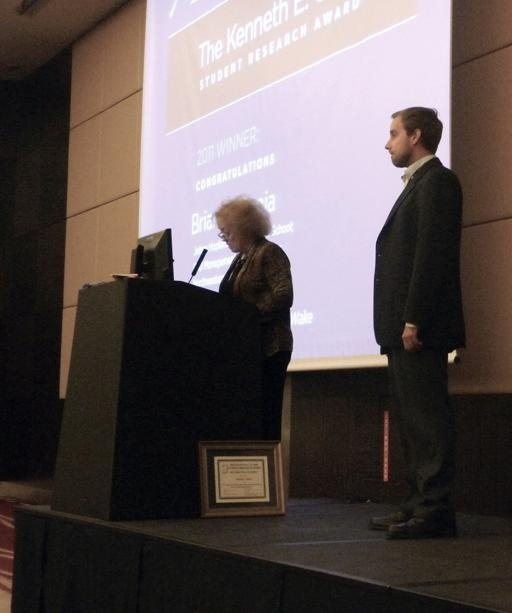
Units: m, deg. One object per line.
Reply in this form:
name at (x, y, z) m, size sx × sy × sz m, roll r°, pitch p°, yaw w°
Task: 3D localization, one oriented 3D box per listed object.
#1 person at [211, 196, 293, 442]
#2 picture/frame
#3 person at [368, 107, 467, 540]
person at (-0.002, 0.024, 2.188) m, size 0.220 × 0.779 × 0.410 m, roll 0°, pitch -5°, yaw -9°
picture/frame at (-0.045, 0.454, 1.829) m, size 0.193 × 0.186 × 0.022 m, roll 5°, pitch -24°, yaw -31°
person at (0.395, 0.000, 1.744) m, size 0.248 × 1.086 × 0.351 m, roll -1°, pitch -5°, yaw 7°
